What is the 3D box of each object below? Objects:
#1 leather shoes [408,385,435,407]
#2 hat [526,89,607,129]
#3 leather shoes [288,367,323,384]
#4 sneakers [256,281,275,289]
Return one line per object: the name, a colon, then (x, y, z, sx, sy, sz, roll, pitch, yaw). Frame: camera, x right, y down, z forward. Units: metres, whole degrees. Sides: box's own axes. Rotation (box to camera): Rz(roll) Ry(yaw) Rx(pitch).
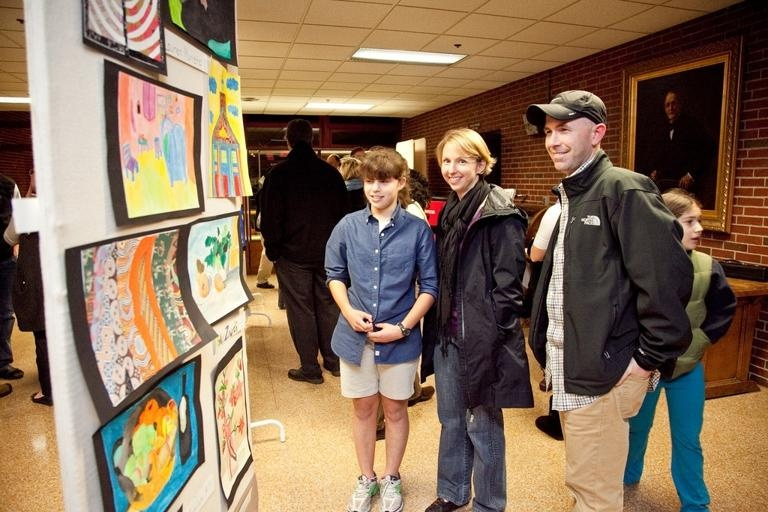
leather shoes: (0.277, 1.029, 3.919, 0.121, 0.051, 0.192, 6, 9, 32)
hat: (0.843, -0.678, 2.398, 0.332, 0.157, 0.211, 9, 10, -9)
leather shoes: (-0.641, 0.952, 4.264, 0.284, 0.117, 0.115, 9, 12, 32)
sneakers: (-1.630, 0.407, 7.211, 0.282, 0.113, 0.096, 0, 0, -10)
